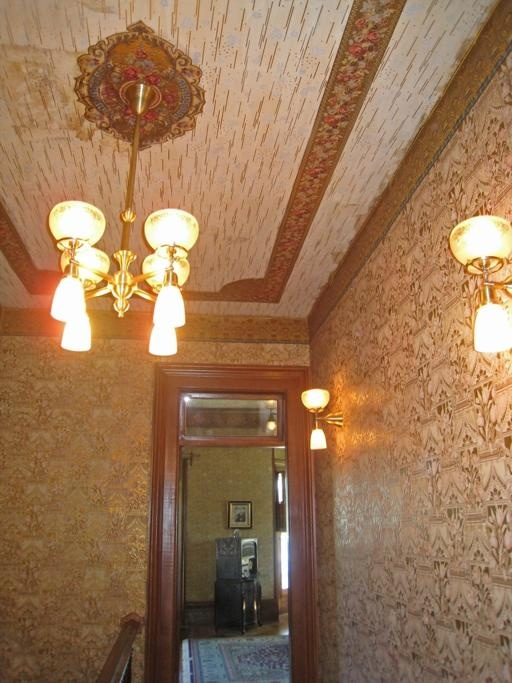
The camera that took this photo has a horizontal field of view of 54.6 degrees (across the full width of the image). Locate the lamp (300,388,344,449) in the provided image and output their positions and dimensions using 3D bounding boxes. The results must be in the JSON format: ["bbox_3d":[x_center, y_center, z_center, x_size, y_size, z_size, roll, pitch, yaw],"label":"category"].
[{"bbox_3d":[0.502,0.574,3.693,0.273,0.434,0.217,-4,-1,-19],"label":"lamp"}]

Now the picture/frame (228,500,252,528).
[{"bbox_3d":[-0.322,3.358,9.621,0.476,0.532,0.058,4,-24,-10],"label":"picture/frame"}]
